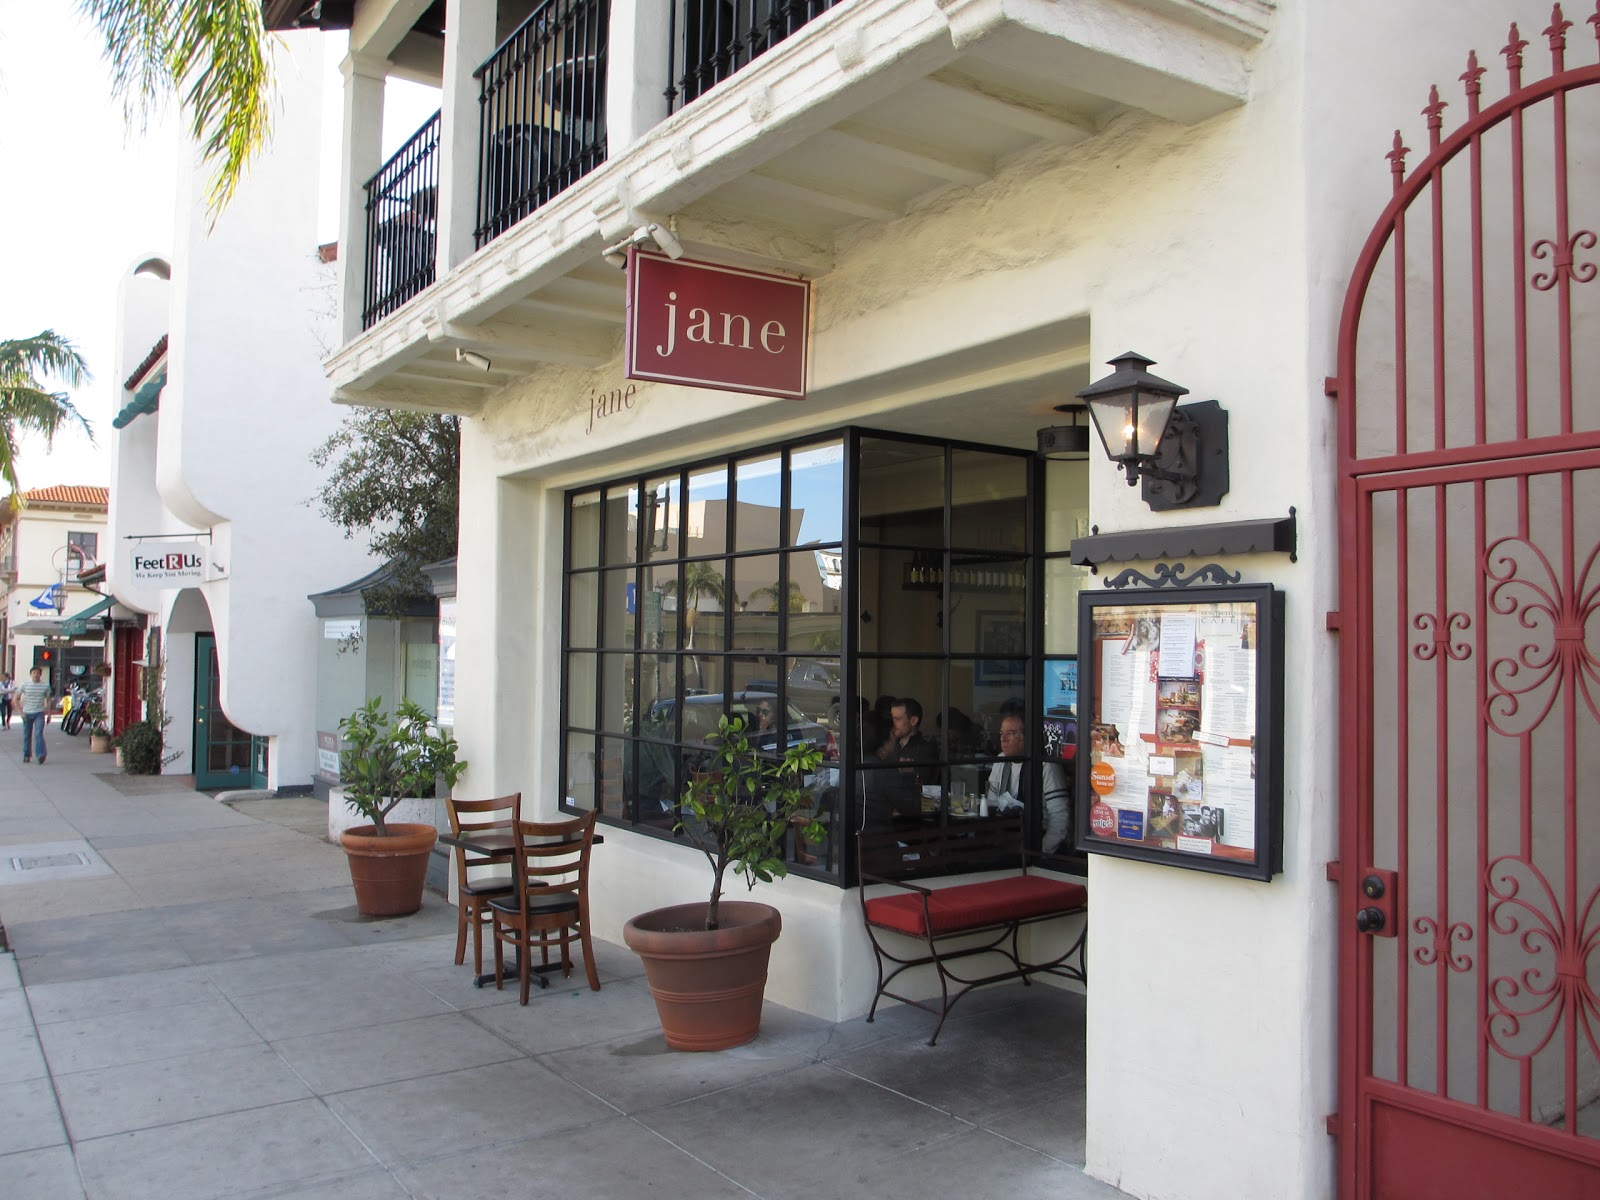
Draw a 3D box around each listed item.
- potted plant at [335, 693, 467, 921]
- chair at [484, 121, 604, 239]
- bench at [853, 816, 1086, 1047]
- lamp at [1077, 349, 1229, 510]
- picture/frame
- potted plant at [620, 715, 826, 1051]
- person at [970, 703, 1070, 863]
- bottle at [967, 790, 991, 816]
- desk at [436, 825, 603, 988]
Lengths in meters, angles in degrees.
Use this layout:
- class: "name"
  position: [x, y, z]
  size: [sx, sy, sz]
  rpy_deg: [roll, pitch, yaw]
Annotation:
- class: "potted plant"
  position: [-3.264, 1.697, 10.819]
  size: [0.920, 1.720, 0.627]
  rpy_deg: [-1, 1, -19]
- class: "chair"
  position: [-1.753, -2.869, 8.779]
  size: [0.464, 0.755, 1.305]
  rpy_deg: [-1, 0, -34]
- class: "bench"
  position: [0.983, 2.030, 8.009]
  size: [1.339, 1.001, 0.533]
  rpy_deg: [1, -4, -38]
- class: "lamp"
  position: [1.487, -0.653, 5.955]
  size: [0.624, 0.872, 0.597]
  rpy_deg: [3, -6, -29]
- class: "picture/frame"
  position: [1.617, 0.551, 5.777]
  size: [0.126, 1.204, 0.926]
  rpy_deg: [-1, 1, -41]
- class: "potted plant"
  position: [-0.428, 1.613, 8.015]
  size: [1.088, 1.891, 1.460]
  rpy_deg: [0, 0, 1]
- class: "person"
  position: [1.413, 1.276, 8.530]
  size: [0.573, 1.051, 0.479]
  rpy_deg: [-5, -32, 24]
- class: "bottle"
  position: [1.136, 1.295, 8.421]
  size: [0.123, 0.139, 0.242]
  rpy_deg: [6, -2, 11]
- class: "desk"
  position: [-1.905, 2.008, 9.102]
  size: [0.927, 1.189, 1.722]
  rpy_deg: [-1, 0, -15]
